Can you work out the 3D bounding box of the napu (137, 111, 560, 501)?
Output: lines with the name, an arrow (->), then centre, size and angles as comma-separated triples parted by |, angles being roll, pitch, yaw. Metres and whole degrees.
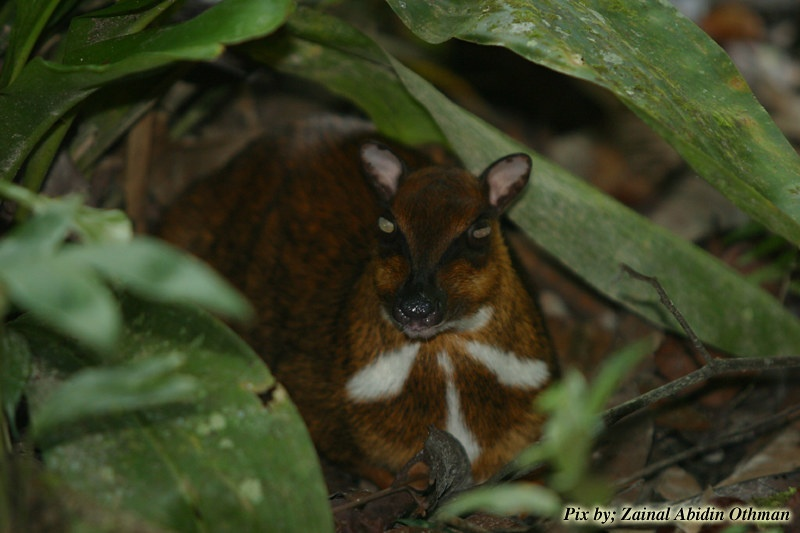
napu -> -0.120, 0.036, 2.358 | 0.648, 0.658, 1.008 | -13, 62, -21
